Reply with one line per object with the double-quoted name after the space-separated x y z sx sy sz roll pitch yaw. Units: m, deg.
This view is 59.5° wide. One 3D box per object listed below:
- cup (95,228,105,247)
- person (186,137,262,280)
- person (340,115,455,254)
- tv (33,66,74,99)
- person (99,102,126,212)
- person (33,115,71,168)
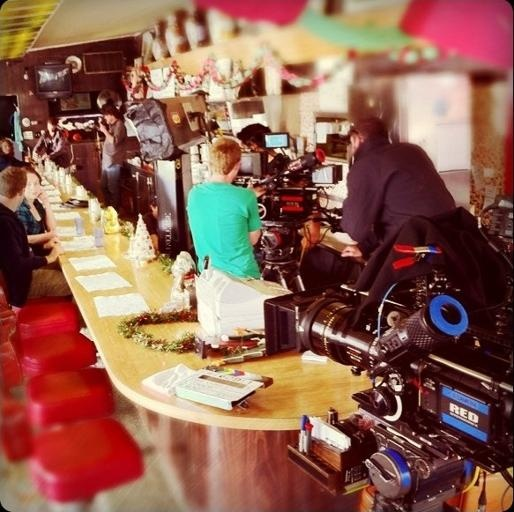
-1.293 -0.153 3.658 0.078 0.145 0.159 -8 13 -20 "cup"
-0.171 -0.231 2.358 0.385 0.760 0.354 -5 13 -7 "person"
0.809 -0.447 2.737 0.751 0.750 0.598 -9 23 15 "person"
-5.350 -4.438 11.253 0.665 0.901 1.003 22 33 18 "tv"
-2.554 -1.712 8.043 0.471 1.857 0.829 -9 14 -21 "person"
-4.450 -2.391 9.553 0.634 1.063 1.293 -9 14 -24 "person"
